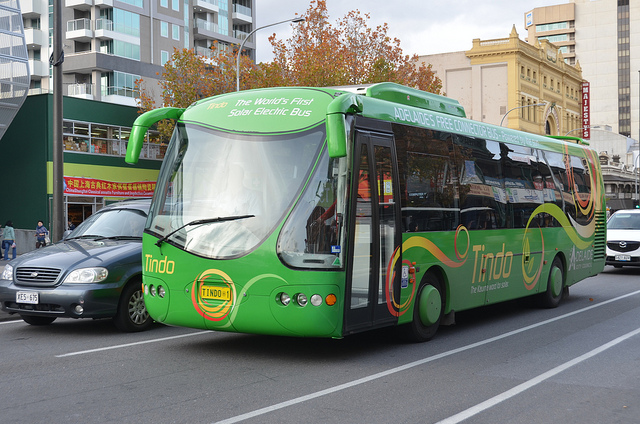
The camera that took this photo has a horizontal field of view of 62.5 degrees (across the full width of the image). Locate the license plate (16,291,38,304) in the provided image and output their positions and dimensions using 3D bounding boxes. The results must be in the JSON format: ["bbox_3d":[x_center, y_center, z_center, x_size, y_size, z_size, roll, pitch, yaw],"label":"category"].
[{"bbox_3d":[-5.155,1.515,9.347,0.500,0.210,0.017,1,2,20],"label":"license plate"}]

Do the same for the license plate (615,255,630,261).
[{"bbox_3d":[11.535,1.778,20.484,0.482,0.223,0.071,1,2,28],"label":"license plate"}]

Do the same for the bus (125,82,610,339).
[{"bbox_3d":[2.864,0.159,12.412,4.161,4.640,13.248,-2,-5,39],"label":"bus"}]
